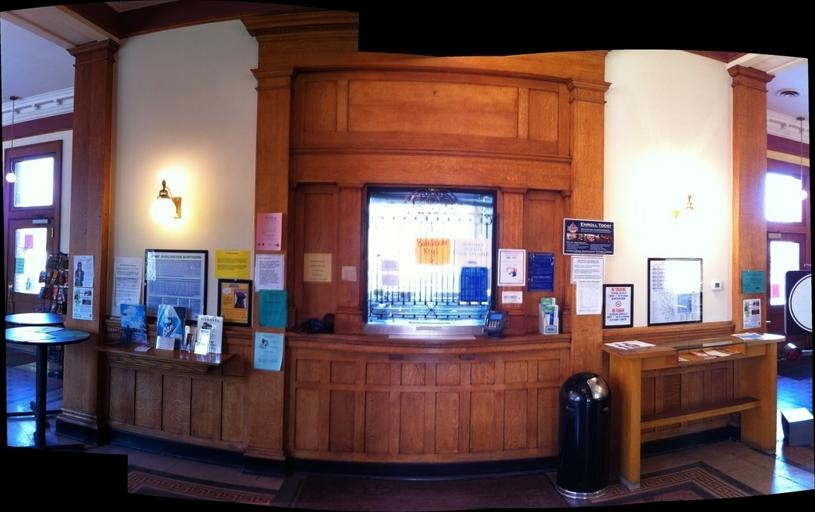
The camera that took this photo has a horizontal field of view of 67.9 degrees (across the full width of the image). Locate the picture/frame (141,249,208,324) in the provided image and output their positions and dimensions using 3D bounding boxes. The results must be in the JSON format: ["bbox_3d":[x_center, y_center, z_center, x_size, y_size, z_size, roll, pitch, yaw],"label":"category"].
[{"bbox_3d":[-2.215,0.284,5.812,0.769,0.773,0.032,3,0,3],"label":"picture/frame"}]

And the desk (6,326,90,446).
[{"bbox_3d":[-3.471,1.250,5.749,0.815,1.134,0.579,-1,-1,29],"label":"desk"}]

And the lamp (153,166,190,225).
[{"bbox_3d":[-2.290,-0.562,5.779,0.300,0.506,0.074,-1,-1,6],"label":"lamp"}]

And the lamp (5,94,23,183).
[{"bbox_3d":[-4.496,-1.326,6.896,0.096,0.954,0.396,0,-2,-42],"label":"lamp"}]

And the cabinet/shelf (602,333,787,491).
[{"bbox_3d":[2.774,1.411,5.858,1.872,1.049,0.561,-2,0,-21],"label":"cabinet/shelf"}]
